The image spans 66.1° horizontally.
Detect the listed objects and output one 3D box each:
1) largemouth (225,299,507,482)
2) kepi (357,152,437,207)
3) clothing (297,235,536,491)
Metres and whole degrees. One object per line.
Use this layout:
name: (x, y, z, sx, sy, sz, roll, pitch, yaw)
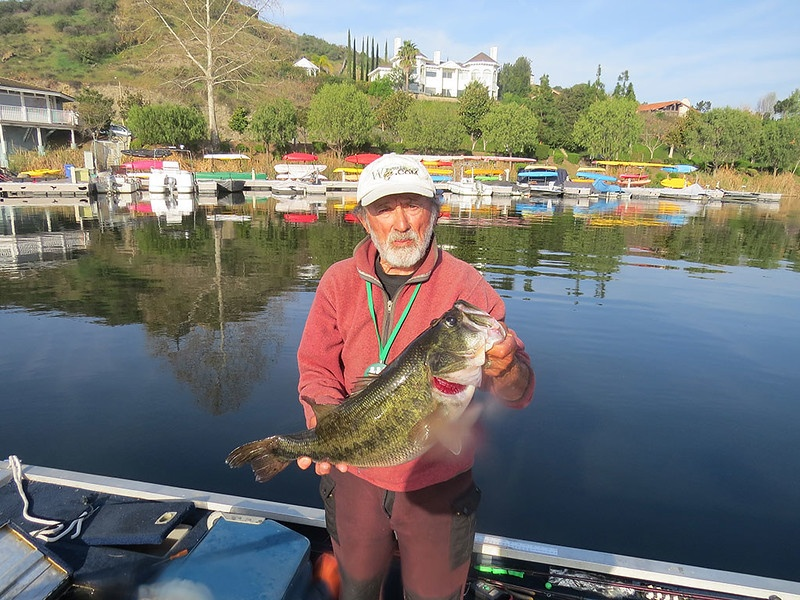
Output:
largemouth: (-0.264, 0.855, 5.201, 2.343, 0.984, 0.760, -32, -18, 10)
kepi: (-0.023, -0.913, 4.694, 0.609, 0.399, 0.275, 0, 12, 1)
clothing: (0.080, 0.592, 5.242, 1.536, 2.102, 2.162, 7, 10, 28)
